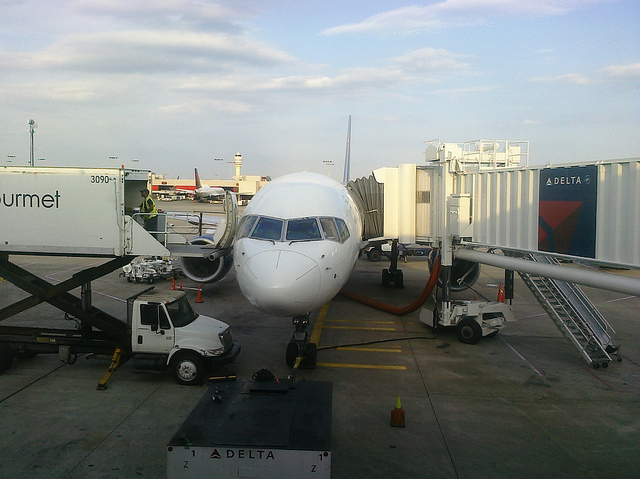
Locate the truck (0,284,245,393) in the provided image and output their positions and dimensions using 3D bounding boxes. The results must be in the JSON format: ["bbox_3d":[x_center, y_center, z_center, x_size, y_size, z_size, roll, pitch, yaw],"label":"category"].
[{"bbox_3d":[-5.568,3.044,17.648,8.554,2.283,2.967,1,17,5],"label":"truck"}]

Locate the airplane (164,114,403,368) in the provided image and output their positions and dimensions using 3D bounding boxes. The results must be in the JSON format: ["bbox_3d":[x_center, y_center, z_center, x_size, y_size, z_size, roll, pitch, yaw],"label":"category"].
[{"bbox_3d":[-1.468,0.116,20.808,7.672,4.413,11.184,1,6,7],"label":"airplane"}]

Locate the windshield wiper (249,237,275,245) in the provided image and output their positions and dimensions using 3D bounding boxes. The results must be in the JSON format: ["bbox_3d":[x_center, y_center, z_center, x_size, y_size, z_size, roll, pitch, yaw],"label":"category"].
[{"bbox_3d":[-1.722,0.042,16.706,0.793,0.089,0.098,9,32,17],"label":"windshield wiper"}]

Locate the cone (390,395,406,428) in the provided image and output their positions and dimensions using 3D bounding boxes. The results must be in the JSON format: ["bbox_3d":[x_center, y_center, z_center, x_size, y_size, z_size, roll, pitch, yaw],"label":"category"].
[{"bbox_3d":[2.035,4.500,14.410,0.402,0.879,0.366,0,14,0],"label":"cone"}]

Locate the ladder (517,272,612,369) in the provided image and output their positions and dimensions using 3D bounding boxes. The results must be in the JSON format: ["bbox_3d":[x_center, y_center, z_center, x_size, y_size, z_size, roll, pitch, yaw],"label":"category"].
[{"bbox_3d":[8.396,2.927,19.112,0.949,0.952,4.021,2,47,-25],"label":"ladder"}]
